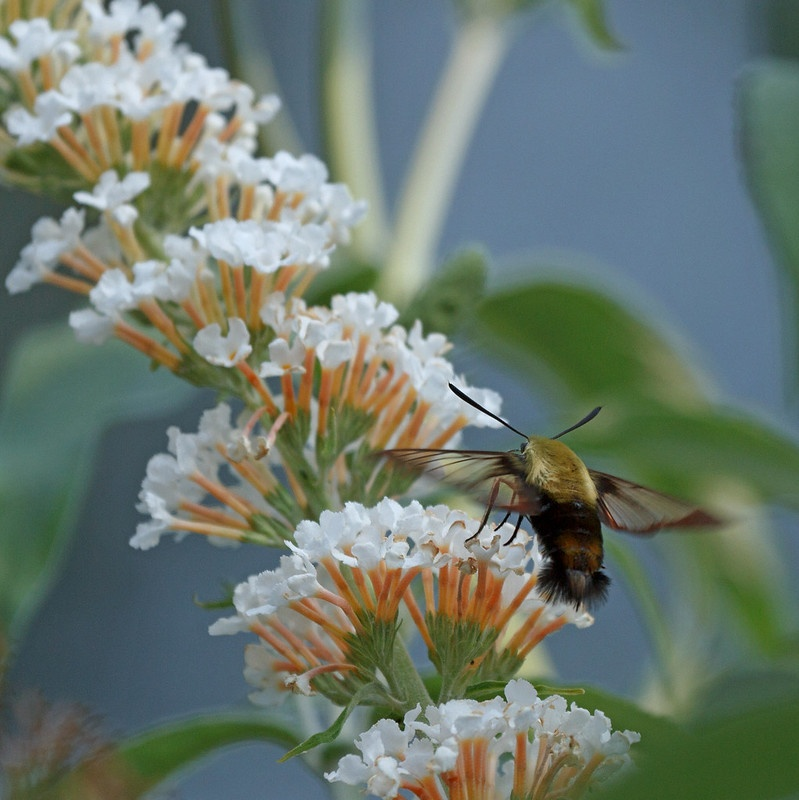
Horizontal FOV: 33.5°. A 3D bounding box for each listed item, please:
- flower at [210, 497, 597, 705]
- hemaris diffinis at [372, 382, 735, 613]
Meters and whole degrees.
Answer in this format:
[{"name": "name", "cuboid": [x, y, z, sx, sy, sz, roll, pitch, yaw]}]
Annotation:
[{"name": "flower", "cuboid": [-0.001, 0.158, 1.073, 0.211, 0.126, 0.199, 12, 50, 2]}, {"name": "hemaris diffinis", "cuboid": [0.126, 0.071, 1.059, 0.270, 0.179, 0.154, 8, 93, -4]}]
